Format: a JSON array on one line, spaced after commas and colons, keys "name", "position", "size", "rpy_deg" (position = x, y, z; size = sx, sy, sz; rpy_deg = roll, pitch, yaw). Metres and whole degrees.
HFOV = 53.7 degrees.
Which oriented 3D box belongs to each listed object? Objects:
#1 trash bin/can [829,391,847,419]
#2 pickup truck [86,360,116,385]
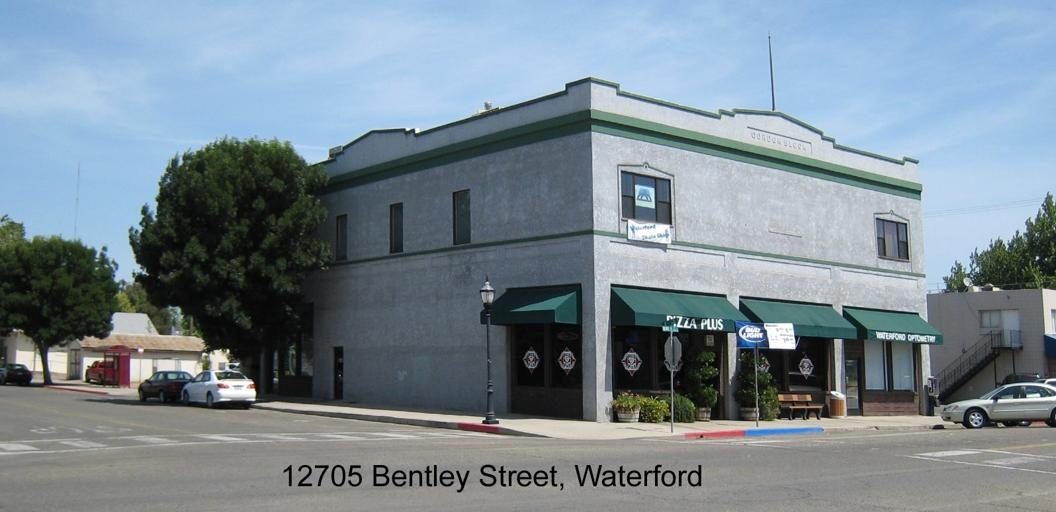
[{"name": "trash bin/can", "position": [21.967, 10.523, 74.266], "size": [1.065, 1.871, 0.618], "rpy_deg": [0, 0, 5]}, {"name": "pickup truck", "position": [-39.339, 10.871, 96.684], "size": [2.110, 1.729, 4.442], "rpy_deg": [4, -3, -37]}]
